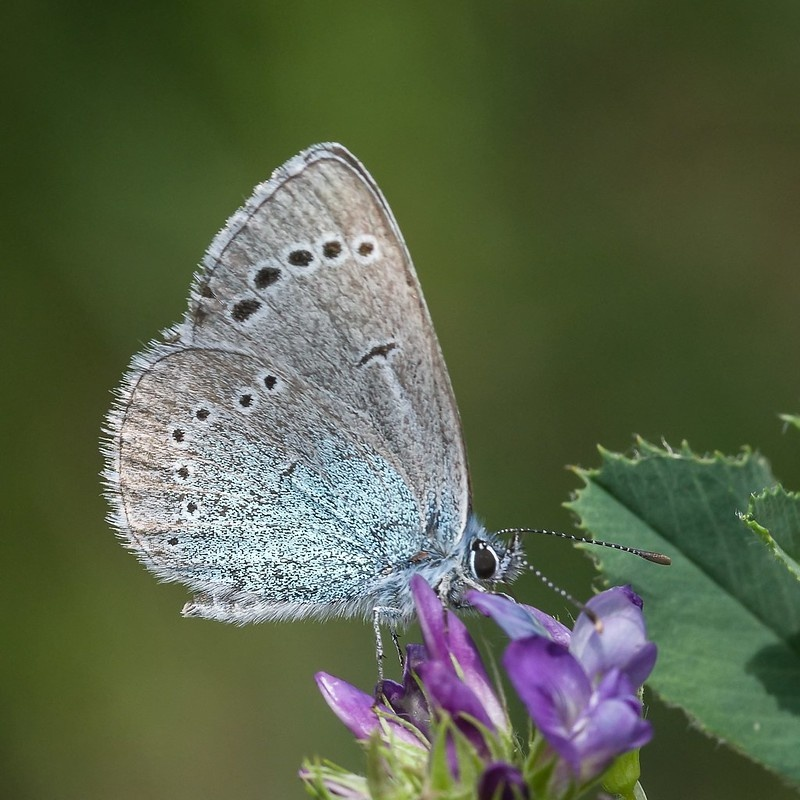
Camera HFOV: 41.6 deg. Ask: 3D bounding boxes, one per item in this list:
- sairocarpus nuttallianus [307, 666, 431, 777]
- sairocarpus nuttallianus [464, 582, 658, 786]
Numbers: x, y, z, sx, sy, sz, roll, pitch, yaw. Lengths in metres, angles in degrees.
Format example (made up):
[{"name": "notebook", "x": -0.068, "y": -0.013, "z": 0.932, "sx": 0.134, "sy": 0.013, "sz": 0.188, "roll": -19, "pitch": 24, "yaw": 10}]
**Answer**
[{"name": "sairocarpus nuttallianus", "x": -0.075, "y": 0.711, "z": 2.331, "sx": 0.272, "sy": 0.179, "sz": 0.079, "roll": 33, "pitch": -20, "yaw": 20}, {"name": "sairocarpus nuttallianus", "x": 0.330, "y": 0.500, "z": 2.041, "sx": 0.346, "sy": 0.268, "sz": 0.466, "roll": 22, "pitch": -10, "yaw": -20}]
